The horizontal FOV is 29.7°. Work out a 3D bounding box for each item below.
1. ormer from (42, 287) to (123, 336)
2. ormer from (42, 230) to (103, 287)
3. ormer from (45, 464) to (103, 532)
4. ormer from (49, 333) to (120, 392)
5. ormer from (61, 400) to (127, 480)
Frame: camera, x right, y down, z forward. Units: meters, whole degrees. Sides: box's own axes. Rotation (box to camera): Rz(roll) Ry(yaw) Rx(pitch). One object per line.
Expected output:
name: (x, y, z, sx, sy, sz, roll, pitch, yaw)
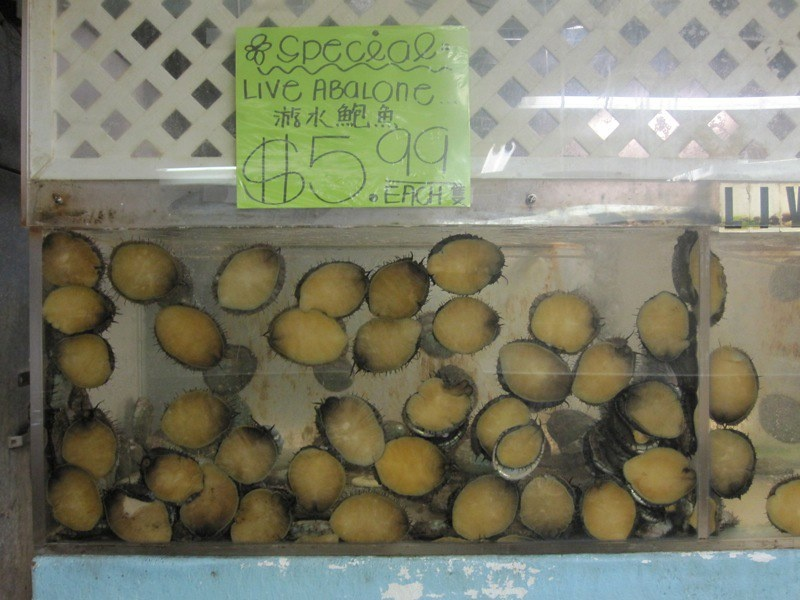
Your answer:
ormer: (-1.049, 0.024, 4.891, 0.246, 0.170, 0.082, -11, -4, -40)
ormer: (-1.051, -0.128, 4.846, 0.190, 0.174, 0.104, 21, -1, -14)
ormer: (-1.041, 0.643, 4.864, 0.155, 0.201, 0.061, -30, 4, -1)
ormer: (-1.005, 0.201, 4.903, 0.187, 0.163, 0.107, 31, 0, -1)
ormer: (-0.983, 0.459, 4.911, 0.201, 0.223, 0.075, -12, 1, 2)
